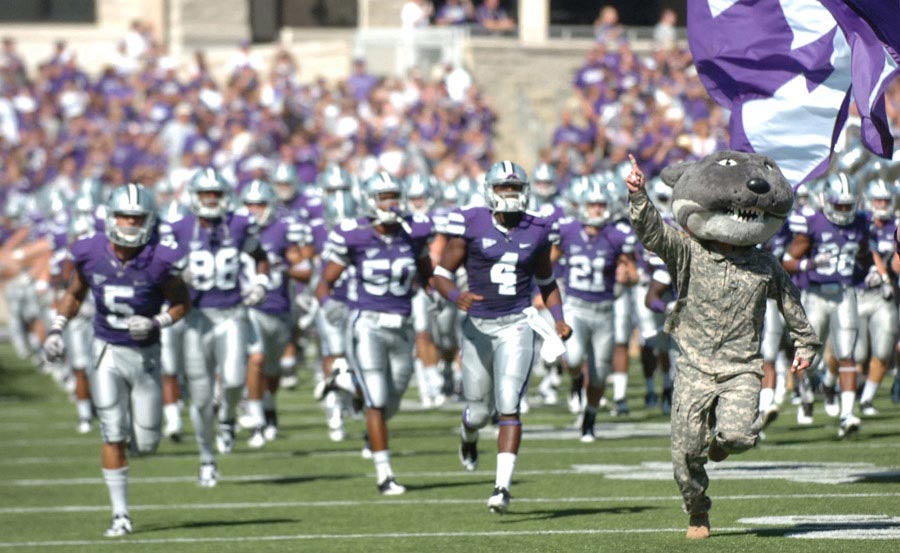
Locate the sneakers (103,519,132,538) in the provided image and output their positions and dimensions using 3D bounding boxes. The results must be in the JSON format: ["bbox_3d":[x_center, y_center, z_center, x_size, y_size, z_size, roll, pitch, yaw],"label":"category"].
[{"bbox_3d":[-3.362,2.525,18.681,0.180,0.124,0.258,19,35,34],"label":"sneakers"}]

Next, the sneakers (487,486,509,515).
[{"bbox_3d":[0.504,2.271,18.933,0.212,0.281,0.125,-2,9,-7],"label":"sneakers"}]

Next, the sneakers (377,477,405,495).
[{"bbox_3d":[-0.631,2.226,19.940,0.297,0.242,0.299,-1,8,-3],"label":"sneakers"}]

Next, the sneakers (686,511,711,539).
[{"bbox_3d":[2.487,2.456,18.433,0.269,0.261,0.220,-1,9,-6],"label":"sneakers"}]

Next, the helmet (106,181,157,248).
[{"bbox_3d":[-3.271,-0.624,18.881,0.506,0.636,0.315,-2,9,-8],"label":"helmet"}]

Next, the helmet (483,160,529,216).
[{"bbox_3d":[0.602,-0.942,19.410,0.463,0.457,0.566,0,1,-9],"label":"helmet"}]

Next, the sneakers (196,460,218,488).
[{"bbox_3d":[-2.632,2.137,20.095,0.197,0.290,0.138,1,-1,-11],"label":"sneakers"}]
